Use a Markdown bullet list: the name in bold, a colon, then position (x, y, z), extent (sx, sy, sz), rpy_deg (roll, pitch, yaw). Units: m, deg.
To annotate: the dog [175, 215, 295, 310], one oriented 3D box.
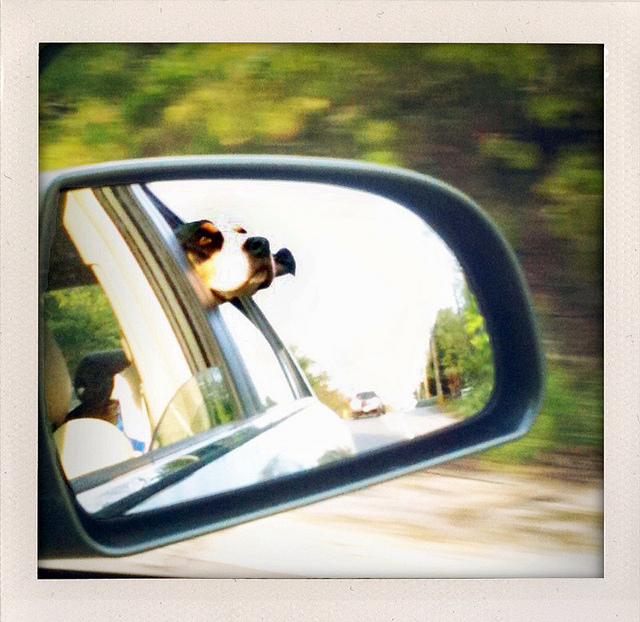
- **dog**: position (-0.244, -0.148, 2.890), extent (0.511, 0.385, 0.234), rpy_deg (10, 94, -37)
